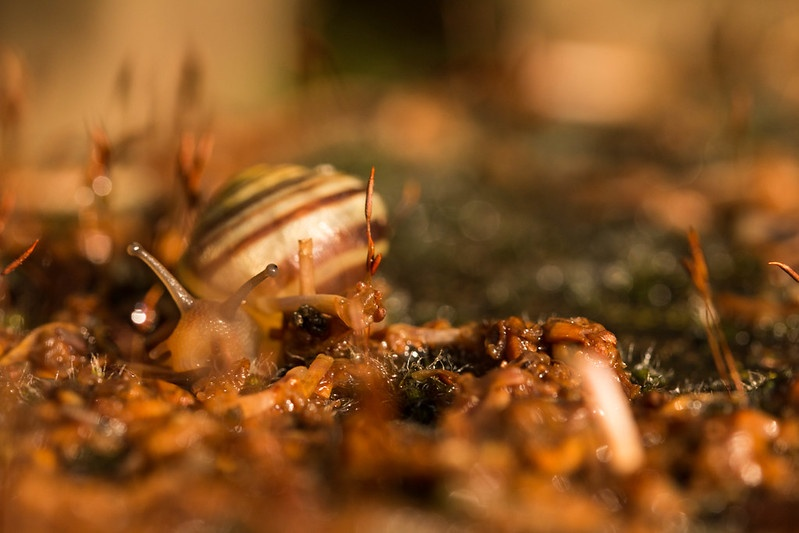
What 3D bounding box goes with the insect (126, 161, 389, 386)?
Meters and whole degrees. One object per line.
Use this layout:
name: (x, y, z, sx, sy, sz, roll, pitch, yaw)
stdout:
insect: (-0.162, -0.015, 0.951, 0.246, 0.205, 0.354, 2, 24, 11)
